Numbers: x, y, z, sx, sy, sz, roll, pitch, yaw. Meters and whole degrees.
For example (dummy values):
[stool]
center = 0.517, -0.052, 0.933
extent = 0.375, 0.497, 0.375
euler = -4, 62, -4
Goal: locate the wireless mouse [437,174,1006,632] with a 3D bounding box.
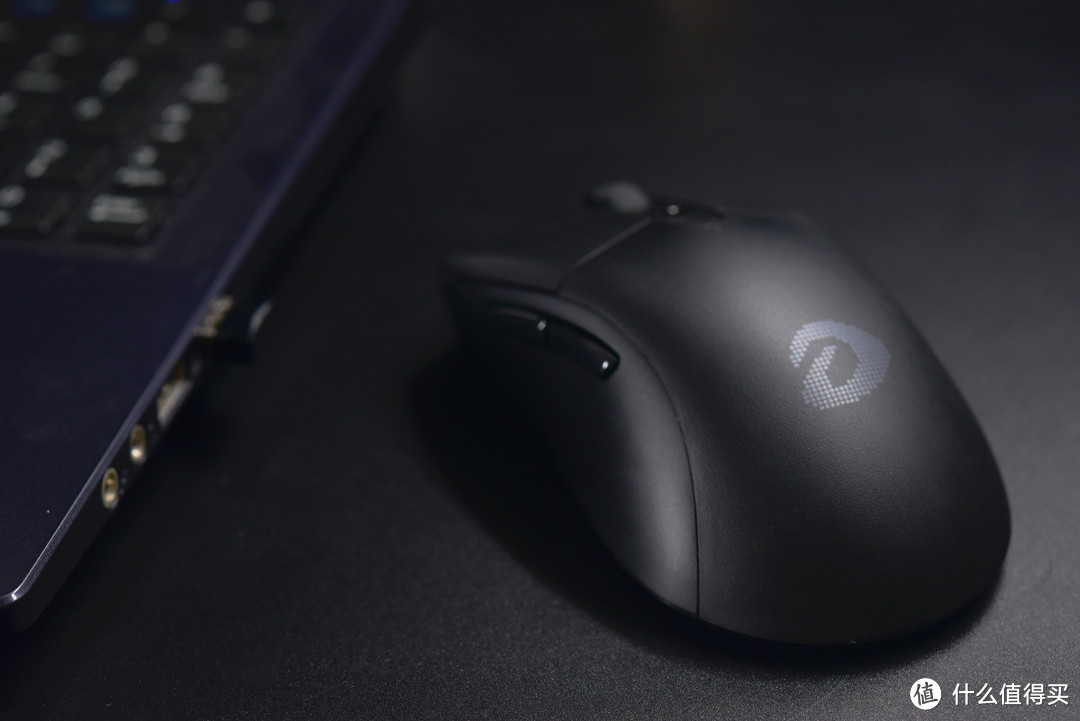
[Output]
[wireless mouse]
center = 0.094, -0.004, 0.556
extent = 0.200, 0.119, 0.338
euler = -7, 36, -28
